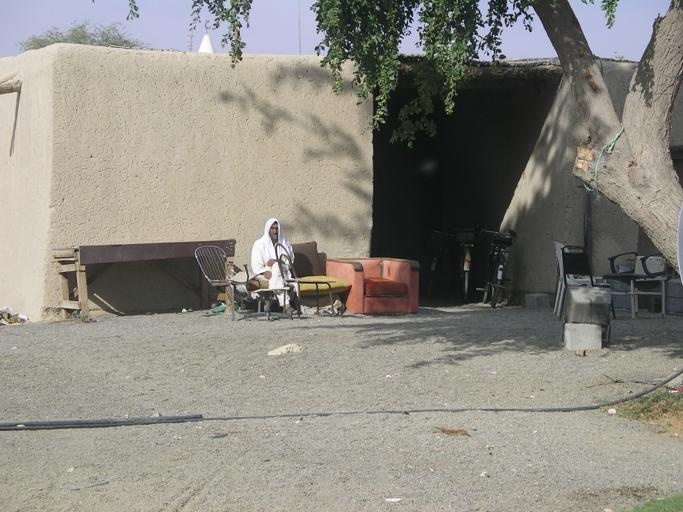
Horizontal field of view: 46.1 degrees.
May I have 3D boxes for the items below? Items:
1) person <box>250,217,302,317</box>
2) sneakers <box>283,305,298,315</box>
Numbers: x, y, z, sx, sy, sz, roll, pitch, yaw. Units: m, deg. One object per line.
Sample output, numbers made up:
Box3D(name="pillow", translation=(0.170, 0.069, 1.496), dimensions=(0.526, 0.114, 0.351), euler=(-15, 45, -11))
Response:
Box3D(name="person", translation=(-0.955, 0.160, 11.676), dimensions=(0.606, 1.319, 1.067), euler=(-4, 10, -25))
Box3D(name="sneakers", translation=(-0.733, 0.781, 11.629), dimensions=(0.171, 0.202, 0.191), euler=(3, -8, -18))
